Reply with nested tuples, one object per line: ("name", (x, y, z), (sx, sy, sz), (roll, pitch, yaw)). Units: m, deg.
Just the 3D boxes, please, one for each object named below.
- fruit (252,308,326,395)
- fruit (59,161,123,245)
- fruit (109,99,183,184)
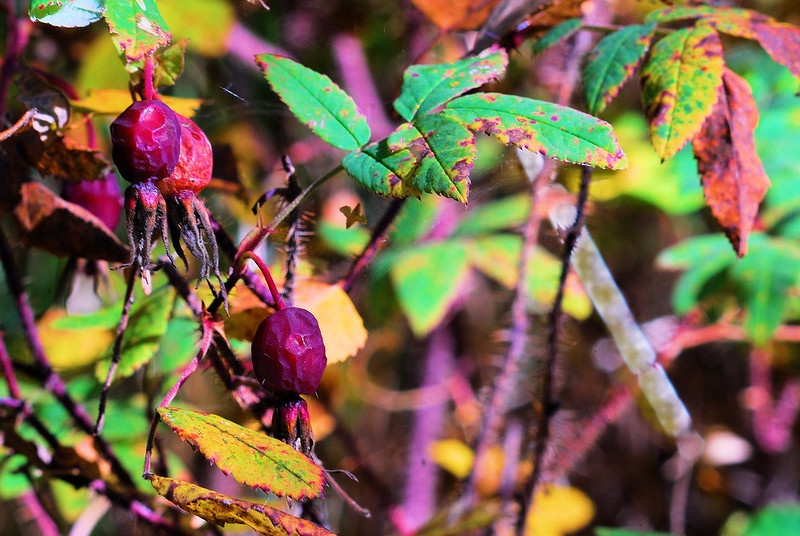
("fruit", (-0.157, 0.120, 1.412), (0.088, 0.127, 0.100), (-18, 5, 8))
("fruit", (-0.510, -0.111, 1.599), (0.075, 0.064, 0.133), (-18, -25, 21))
("fruit", (-0.358, -0.179, 1.341), (0.098, 0.114, 0.063), (0, -1, -16))
